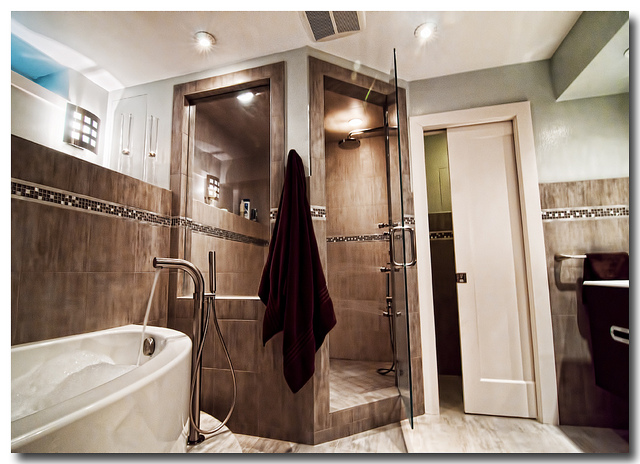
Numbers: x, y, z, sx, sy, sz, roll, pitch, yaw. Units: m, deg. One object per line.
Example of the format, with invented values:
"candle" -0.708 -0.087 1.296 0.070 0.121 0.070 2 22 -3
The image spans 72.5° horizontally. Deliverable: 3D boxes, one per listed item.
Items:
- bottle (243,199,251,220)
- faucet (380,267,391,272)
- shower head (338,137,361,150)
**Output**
"bottle" -0.803 -0.248 4.820 0.080 0.210 0.311 1 7 -10
"faucet" 0.621 0.353 4.123 0.079 0.035 0.042 0 -1 -41
"shower head" 0.312 -0.927 4.528 0.218 0.118 0.363 3 7 5
